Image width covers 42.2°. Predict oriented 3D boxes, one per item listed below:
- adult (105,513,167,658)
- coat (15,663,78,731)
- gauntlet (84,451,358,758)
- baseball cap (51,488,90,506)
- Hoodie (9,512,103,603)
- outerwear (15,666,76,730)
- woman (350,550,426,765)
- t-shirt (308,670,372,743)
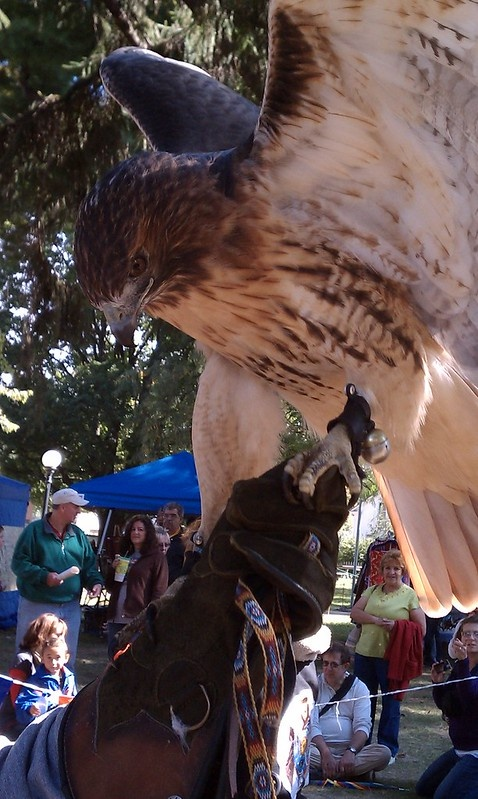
[{"bbox_3d":[-0.825,1.521,4.871,0.416,1.249,0.369,14,12,9],"label":"adult"},{"bbox_3d":[-1.016,1.725,3.395,0.223,0.477,0.430,-8,-22,5],"label":"coat"},{"bbox_3d":[-0.017,0.346,1.138,0.416,0.424,0.350,7,9,2],"label":"gauntlet"},{"bbox_3d":[-1.241,0.759,4.604,0.232,0.135,0.149,-11,7,-13],"label":"baseball cap"},{"bbox_3d":[-1.335,1.207,4.648,0.639,0.646,0.515,12,-20,-36],"label":"Hoodie"},{"bbox_3d":[-1.116,1.592,3.356,0.174,0.332,0.317,13,-9,41],"label":"outerwear"},{"bbox_3d":[1.173,2.112,5.055,0.537,1.700,0.418,3,-4,34],"label":"woman"},{"bbox_3d":[0.715,2.320,4.495,0.437,0.582,0.382,-7,-32,20],"label":"t-shirt"}]
